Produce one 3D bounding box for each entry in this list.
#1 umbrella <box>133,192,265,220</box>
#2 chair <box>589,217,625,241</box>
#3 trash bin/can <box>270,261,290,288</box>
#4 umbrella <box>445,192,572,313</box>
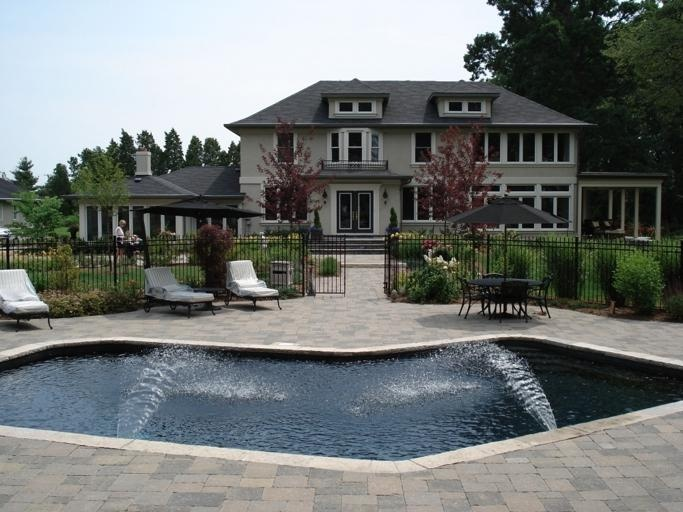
[{"bbox_3d":[-4.030,-1.351,15.983,1.609,0.648,2.575,1,6,43],"label":"umbrella"},{"bbox_3d":[16.480,-1.721,35.587,1.858,1.085,4.147,-1,5,23],"label":"chair"},{"bbox_3d":[-1.818,0.590,18.800,0.780,0.934,0.771,0,-1,-4],"label":"trash bin/can"},{"bbox_3d":[4.171,-0.313,14.599,2.481,1.759,2.492,1,4,26],"label":"umbrella"}]
